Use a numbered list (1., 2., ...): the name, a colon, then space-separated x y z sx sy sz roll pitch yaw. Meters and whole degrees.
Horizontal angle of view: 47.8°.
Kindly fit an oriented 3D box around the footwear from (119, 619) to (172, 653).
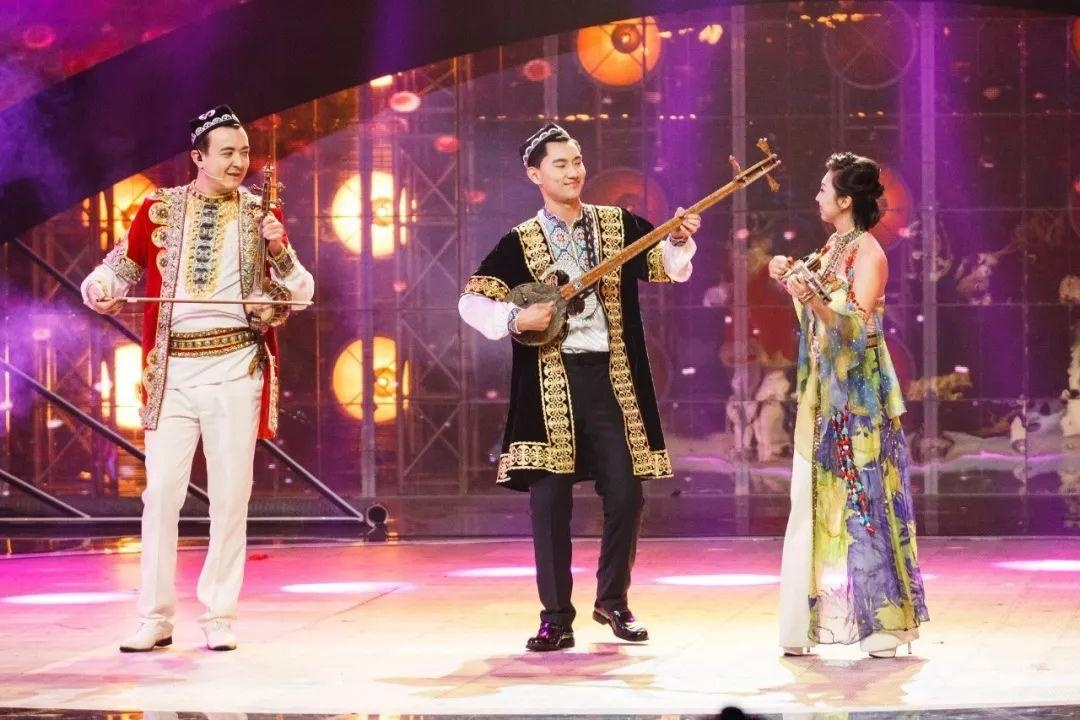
1. footwear: -1.838 1.274 5.599 0.268 0.110 0.097 3 -8 -43

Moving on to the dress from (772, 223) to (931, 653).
1. dress: 1.360 0.349 5.454 0.656 1.857 0.346 -2 -9 5

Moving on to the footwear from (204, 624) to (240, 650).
1. footwear: -1.469 1.274 5.626 0.163 0.124 0.154 -1 -8 -1

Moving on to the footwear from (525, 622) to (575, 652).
1. footwear: 0.057 1.272 5.585 0.234 0.097 0.102 10 -19 -41

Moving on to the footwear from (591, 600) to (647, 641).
1. footwear: 0.379 1.220 5.694 0.308 0.105 0.116 11 9 41

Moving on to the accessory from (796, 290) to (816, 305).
1. accessory: 1.167 -0.272 5.331 0.079 0.065 0.029 26 23 6

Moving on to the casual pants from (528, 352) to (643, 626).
1. casual pants: 0.214 0.600 5.664 0.515 1.240 0.275 0 -9 -6

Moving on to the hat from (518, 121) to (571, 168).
1. hat: -0.028 -1.032 5.831 0.278 0.102 0.227 -30 -10 24

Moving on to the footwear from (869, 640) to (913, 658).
1. footwear: 1.550 1.284 5.380 0.146 0.048 0.091 0 -2 9

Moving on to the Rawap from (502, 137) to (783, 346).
1. Rawap: 0.414 -0.488 5.596 1.135 0.815 0.299 -3 -9 15
